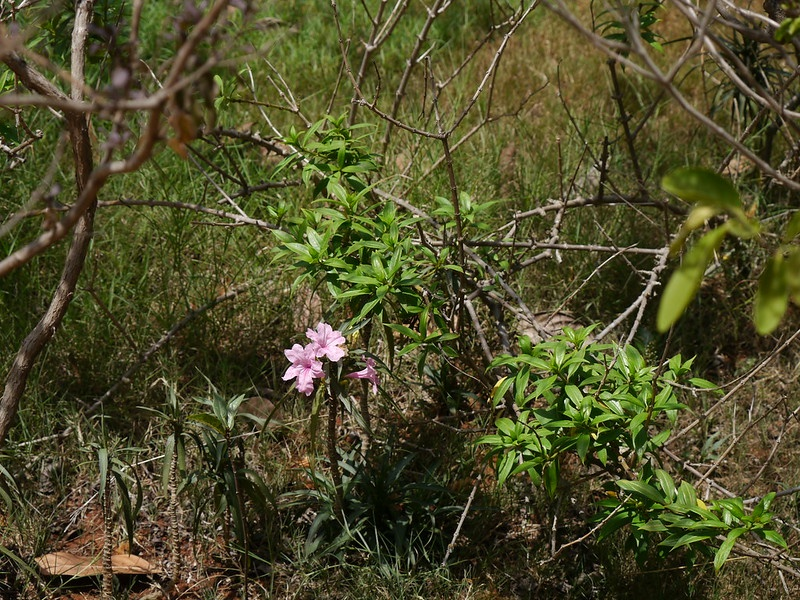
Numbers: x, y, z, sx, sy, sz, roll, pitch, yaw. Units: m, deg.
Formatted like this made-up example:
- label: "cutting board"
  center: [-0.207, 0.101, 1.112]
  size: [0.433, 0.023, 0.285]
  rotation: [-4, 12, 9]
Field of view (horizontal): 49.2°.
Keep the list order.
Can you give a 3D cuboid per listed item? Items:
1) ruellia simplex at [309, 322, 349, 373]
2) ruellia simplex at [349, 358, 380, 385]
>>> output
- label: "ruellia simplex"
  center: [-0.294, 0.175, 3.475]
  size: [0.172, 0.075, 0.220]
  rotation: [5, 33, -12]
- label: "ruellia simplex"
  center: [-0.146, 0.286, 3.633]
  size: [0.120, 0.093, 0.099]
  rotation: [-12, -40, -5]
